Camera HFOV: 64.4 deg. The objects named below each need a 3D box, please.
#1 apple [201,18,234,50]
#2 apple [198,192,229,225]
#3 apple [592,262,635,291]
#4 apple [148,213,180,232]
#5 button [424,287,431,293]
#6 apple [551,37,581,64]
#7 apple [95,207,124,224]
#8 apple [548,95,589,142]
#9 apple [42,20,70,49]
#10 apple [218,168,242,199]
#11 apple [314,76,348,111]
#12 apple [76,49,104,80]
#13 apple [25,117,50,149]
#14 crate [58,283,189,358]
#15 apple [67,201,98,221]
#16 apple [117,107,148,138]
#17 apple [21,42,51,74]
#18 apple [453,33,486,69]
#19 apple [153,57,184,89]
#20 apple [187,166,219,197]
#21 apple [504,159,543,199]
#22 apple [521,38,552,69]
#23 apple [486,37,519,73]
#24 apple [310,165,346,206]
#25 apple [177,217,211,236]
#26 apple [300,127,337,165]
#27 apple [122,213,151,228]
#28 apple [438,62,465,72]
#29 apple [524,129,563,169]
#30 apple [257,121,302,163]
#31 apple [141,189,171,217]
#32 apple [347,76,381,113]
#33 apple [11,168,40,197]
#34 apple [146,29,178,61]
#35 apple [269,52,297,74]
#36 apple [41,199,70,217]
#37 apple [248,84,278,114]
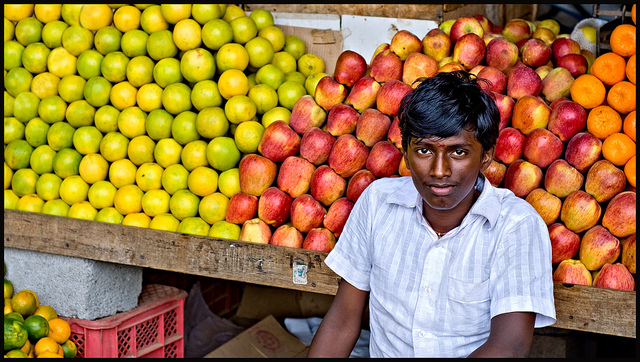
[{"bbox_3d":[-0.825,-1.215,4.294,0.238,0.240,0.238,14,31,16],"label":"apple"},{"bbox_3d":[-0.905,0.222,4.209,0.290,0.269,0.250,-6,21,-27],"label":"apple"},{"bbox_3d":[2.054,0.665,3.581,0.206,0.228,0.207,2,-7,1],"label":"apple"},{"bbox_3d":[-1.275,0.348,4.167,0.171,0.156,0.158,-3,-27,-11],"label":"apple"},{"bbox_3d":[0.671,0.678,3.152,0.037,0.034,0.010,-6,-5,3],"label":"button"},{"bbox_3d":[2.003,-1.061,4.165,0.212,0.215,0.207,-3,40,34],"label":"apple"},{"bbox_3d":[-1.775,0.299,4.294,0.164,0.156,0.185,-31,23,-19],"label":"apple"},{"bbox_3d":[1.820,-0.425,3.808,0.274,0.292,0.272,31,-6,-29],"label":"apple"},{"bbox_3d":[-2.392,-1.301,4.559,0.241,0.228,0.232,-14,32,-41],"label":"apple"},{"bbox_3d":[-0.758,0.013,4.221,0.256,0.237,0.251,-6,17,-16],"label":"apple"},{"bbox_3d":[0.083,-0.699,4.198,0.272,0.274,0.258,0,24,-37],"label":"apple"},{"bbox_3d":[-1.994,-0.997,4.472,0.235,0.223,0.224,-9,54,-24],"label":"apple"},{"bbox_3d":[-2.502,-0.406,4.525,0.244,0.277,0.235,-2,-9,-5],"label":"apple"},{"bbox_3d":[-1.595,1.318,4.461,0.735,0.440,0.757,4,6,38],"label":"crate"},{"bbox_3d":[-2.056,0.259,4.370,0.267,0.148,0.119,2,4,25],"label":"apple"},{"bbox_3d":[-1.606,-0.485,4.373,0.218,0.227,0.239,14,0,30],"label":"apple"},{"bbox_3d":[-2.513,-1.074,4.500,0.252,0.252,0.254,-9,-4,-26],"label":"apple"},{"bbox_3d":[1.209,-1.034,4.143,0.259,0.292,0.260,9,-4,14],"label":"apple"},{"bbox_3d":[-1.278,-0.913,4.326,0.259,0.242,0.241,7,17,21],"label":"apple"},{"bbox_3d":[-0.962,0.009,4.246,0.289,0.275,0.275,4,4,10],"label":"apple"},{"bbox_3d":[1.532,-0.019,3.832,0.267,0.289,0.258,-1,18,-15],"label":"apple"},{"bbox_3d":[1.765,-1.023,4.132,0.242,0.222,0.225,0,28,8],"label":"apple"},{"bbox_3d":[1.437,-0.983,4.124,0.253,0.245,0.255,7,2,6],"label":"apple"},{"bbox_3d":[0.061,0.043,4.089,0.265,0.271,0.277,32,-1,-17],"label":"apple"},{"bbox_3d":[-1.026,0.354,4.102,0.173,0.170,0.173,-20,31,-31],"label":"apple"},{"bbox_3d":[-0.018,-0.259,4.122,0.260,0.251,0.266,27,2,25],"label":"apple"},{"bbox_3d":[-1.535,0.334,4.236,0.144,0.140,0.144,-11,16,14],"label":"apple"},{"bbox_3d":[1.033,-0.883,4.001,0.204,0.086,0.205,1,3,16],"label":"apple"},{"bbox_3d":[1.623,-0.223,3.832,0.261,0.256,0.267,30,2,-5],"label":"apple"},{"bbox_3d":[-0.319,-0.336,4.177,0.322,0.333,0.320,4,22,-43],"label":"apple"},{"bbox_3d":[-1.346,0.180,4.243,0.224,0.204,0.207,14,20,-19],"label":"apple"},{"bbox_3d":[0.346,-0.703,4.127,0.247,0.291,0.234,8,8,-2],"label":"apple"},{"bbox_3d":[-2.691,0.008,4.608,0.230,0.262,0.230,-1,-8,10],"label":"apple"},{"bbox_3d":[-1.325,-1.109,4.271,0.248,0.248,0.257,3,-1,-19],"label":"apple"},{"bbox_3d":[-0.325,-1.042,4.547,0.197,0.192,0.222,2,16,13],"label":"apple"},{"bbox_3d":[-2.306,0.256,4.451,0.162,0.162,0.173,-15,-14,13],"label":"apple"},{"bbox_3d":[-0.469,-0.674,4.199,0.230,0.222,0.251,1,2,33],"label":"apple"}]
